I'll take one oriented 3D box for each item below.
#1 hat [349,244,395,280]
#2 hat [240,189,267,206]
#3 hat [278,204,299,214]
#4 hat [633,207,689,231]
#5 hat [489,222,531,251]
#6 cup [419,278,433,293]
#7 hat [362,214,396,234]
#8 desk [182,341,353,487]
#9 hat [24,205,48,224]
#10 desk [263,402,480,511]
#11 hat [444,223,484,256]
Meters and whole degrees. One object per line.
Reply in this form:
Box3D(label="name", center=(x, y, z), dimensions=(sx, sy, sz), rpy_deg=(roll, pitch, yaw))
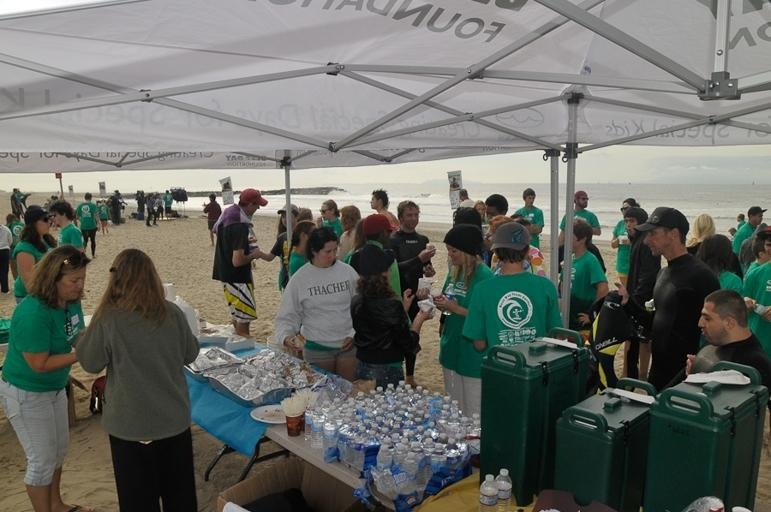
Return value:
Box3D(label="hat", center=(-0.137, 0.036, 5.329), dimensions=(0.297, 0.188, 0.416), rpy_deg=(-18, 30, -8))
Box3D(label="hat", center=(-1.818, -0.779, 7.787), dimensions=(0.429, 0.241, 0.272), rpy_deg=(-7, 21, -37))
Box3D(label="hat", center=(-1.613, -0.782, 9.378), dimensions=(0.256, 0.147, 0.399), rpy_deg=(-2, -1, 12))
Box3D(label="hat", center=(2.631, -0.381, 5.375), dimensions=(0.371, 0.215, 0.255), rpy_deg=(8, 9, 32))
Box3D(label="hat", center=(1.017, -0.160, 4.619), dimensions=(0.296, 0.229, 0.159), rpy_deg=(0, 5, -7))
Box3D(label="cup", center=(0.388, 0.289, 5.737), dimensions=(0.111, 0.127, 0.131), rpy_deg=(-3, 4, -36))
Box3D(label="hat", center=(-0.079, -0.352, 6.435), dimensions=(0.317, 0.181, 0.218), rpy_deg=(-23, 24, -39))
Box3D(label="desk", center=(-1.201, 1.422, 5.032), dimensions=(1.541, 0.414, 1.050), rpy_deg=(27, 29, 35))
Box3D(label="hat", center=(-4.378, -0.516, 6.996), dimensions=(0.245, 0.210, 0.241), rpy_deg=(-11, 17, -13))
Box3D(label="desk", center=(-0.011, 1.407, 4.161), dimensions=(1.372, 0.582, 0.708), rpy_deg=(3, 5, 22))
Box3D(label="hat", center=(0.750, -0.152, 5.381), dimensions=(0.391, 0.297, 0.223), rpy_deg=(1, 5, -3))
